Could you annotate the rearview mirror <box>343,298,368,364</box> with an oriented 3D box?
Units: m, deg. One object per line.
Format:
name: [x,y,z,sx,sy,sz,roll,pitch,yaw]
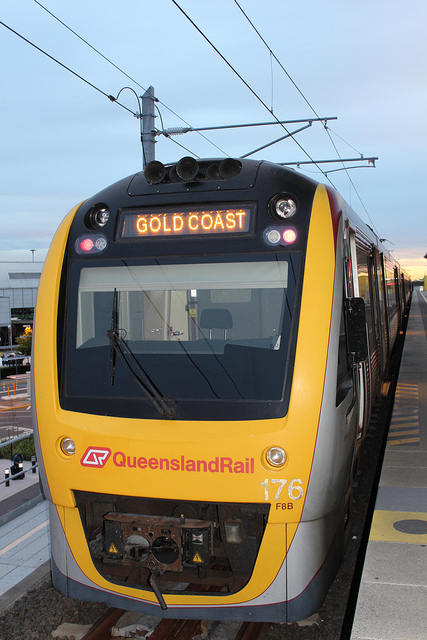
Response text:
rearview mirror: [0.900,0.058,3.264,0.145,0.420,0.037,1,-17,3]

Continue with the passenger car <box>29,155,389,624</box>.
passenger car: [-0.159,0.308,3.188,1.807,2.733,0.839,-2,-1,23]
